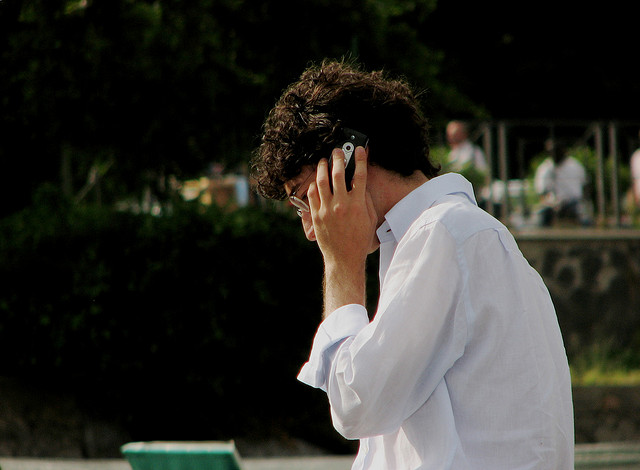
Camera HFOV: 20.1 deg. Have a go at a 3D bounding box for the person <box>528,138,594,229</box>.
[{"bbox_3d":[2.695,-0.482,19.831,0.367,1.432,0.467,-2,9,-12],"label":"person"}]
